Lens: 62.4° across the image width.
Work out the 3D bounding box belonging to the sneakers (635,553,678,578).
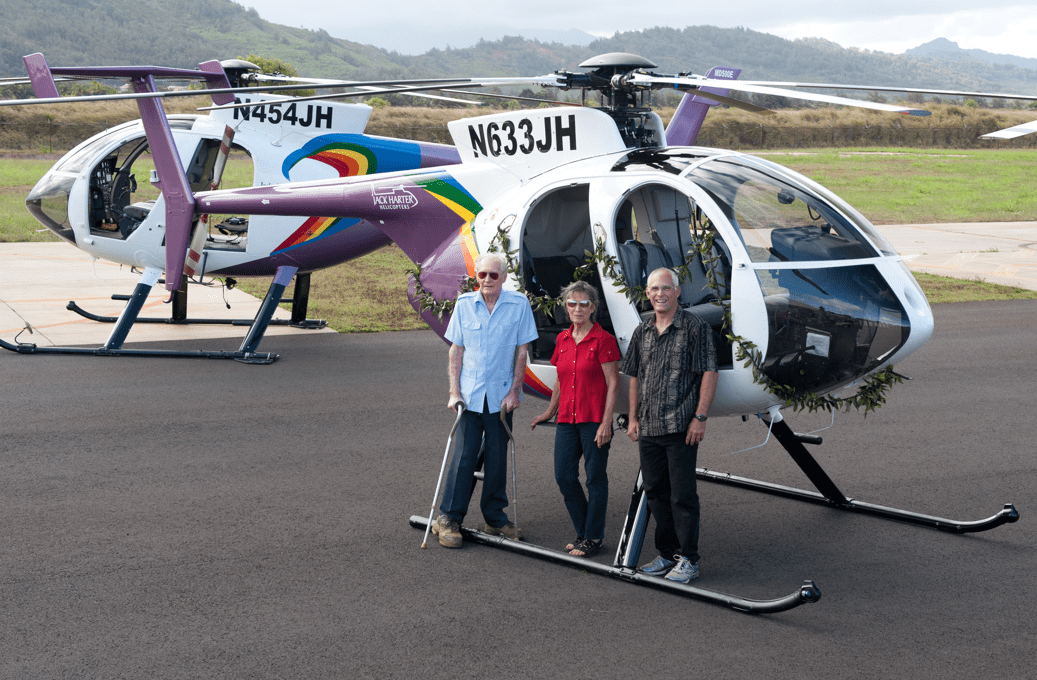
[{"bbox_3d":[1.147,1.895,7.142,0.348,0.134,0.144,0,6,-3],"label":"sneakers"}]

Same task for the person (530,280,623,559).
[{"bbox_3d":[0.534,0.711,7.416,0.707,2.322,0.980,-1,22,-5],"label":"person"}]

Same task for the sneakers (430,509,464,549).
[{"bbox_3d":[-0.643,1.722,7.632,0.190,0.156,0.392,1,3,-28],"label":"sneakers"}]

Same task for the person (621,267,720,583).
[{"bbox_3d":[1.250,0.716,7.004,0.719,2.473,1.041,1,22,-1],"label":"person"}]

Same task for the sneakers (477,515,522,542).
[{"bbox_3d":[-0.168,1.719,7.739,0.398,0.145,0.144,7,7,-5],"label":"sneakers"}]

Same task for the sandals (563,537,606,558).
[{"bbox_3d":[0.581,1.806,7.473,0.368,0.135,0.130,12,-2,-34],"label":"sandals"}]

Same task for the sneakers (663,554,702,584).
[{"bbox_3d":[1.337,1.898,7.020,0.162,0.133,0.345,-4,-10,25],"label":"sneakers"}]

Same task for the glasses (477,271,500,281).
[{"bbox_3d":[-0.258,-0.557,7.457,0.166,0.073,0.047,-1,22,-7],"label":"glasses"}]
